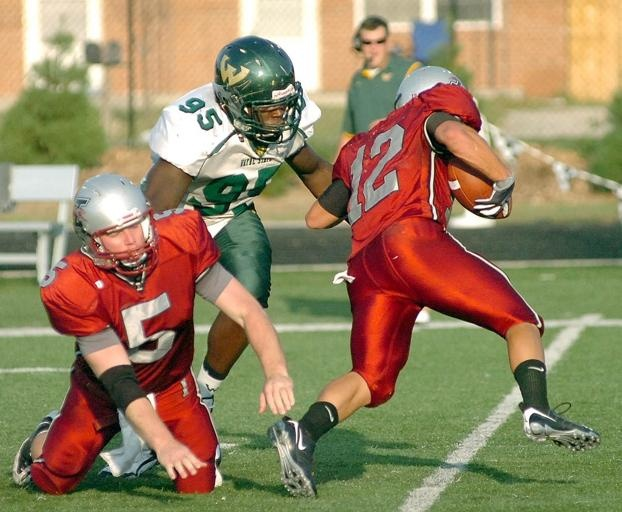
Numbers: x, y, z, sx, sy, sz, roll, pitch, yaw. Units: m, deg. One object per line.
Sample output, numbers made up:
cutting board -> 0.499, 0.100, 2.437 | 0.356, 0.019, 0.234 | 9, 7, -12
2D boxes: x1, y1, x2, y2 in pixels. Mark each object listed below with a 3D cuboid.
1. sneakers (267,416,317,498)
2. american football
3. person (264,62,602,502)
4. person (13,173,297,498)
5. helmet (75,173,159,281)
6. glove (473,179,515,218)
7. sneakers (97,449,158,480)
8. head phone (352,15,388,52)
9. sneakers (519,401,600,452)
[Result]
sneakers -> -0.077, 0.828, 4.429 | 0.176, 0.331, 0.104 | 0, 9, 9
american football -> 0.737, -0.280, 4.929 | 0.303, 0.181, 0.211 | 40, 31, 3
person -> 0.420, 0.067, 4.761 | 1.195, 1.782, 0.989 | -1, 9, 0
person -> -0.650, 0.343, 4.549 | 1.158, 1.362, 0.713 | 7, 12, 42
helmet -> -0.733, -0.144, 4.543 | 0.327, 0.371, 0.428 | -13, 27, -31
glove -> 0.811, -0.255, 4.840 | 0.194, 0.165, 0.149 | 4, 12, -6
sneakers -> -0.809, 0.927, 4.845 | 0.187, 0.066, 0.189 | -2, -5, -15
head phone -> 0.417, -1.666, 8.113 | 0.266, 0.328, 0.128 | 5, 46, -15
sneakers -> 0.995, 0.703, 4.482 | 0.370, 0.129, 0.169 | 15, 48, 6
